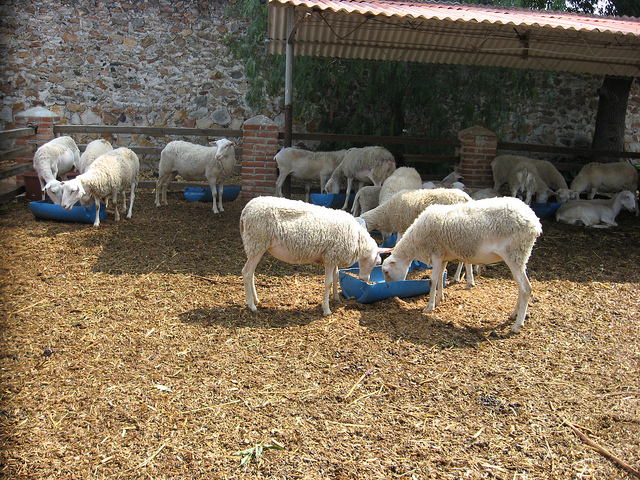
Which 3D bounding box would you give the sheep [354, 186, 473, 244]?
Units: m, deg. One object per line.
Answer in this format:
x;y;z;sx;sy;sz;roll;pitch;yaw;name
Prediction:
1.412;-0.302;8.788;1.505;1.032;1.085;8;17;16;sheep

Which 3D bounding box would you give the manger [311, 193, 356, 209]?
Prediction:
0.226;-0.844;12.067;0.795;0.229;0.497;1;3;-27;manger

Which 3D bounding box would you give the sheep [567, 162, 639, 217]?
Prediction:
6.639;-1.229;14.037;1.667;1.365;1.608;-9;13;-25;sheep

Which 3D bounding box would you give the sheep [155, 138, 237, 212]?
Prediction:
-2.561;-1.372;11.882;2.109;1.337;1.347;8;8;27;sheep

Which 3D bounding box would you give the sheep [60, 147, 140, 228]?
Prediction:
-3.928;-0.880;10.474;1.422;1.493;1.162;0;15;-14;sheep

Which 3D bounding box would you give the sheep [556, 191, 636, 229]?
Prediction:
5.761;-0.610;11.980;1.921;0.838;0.676;2;1;-4;sheep

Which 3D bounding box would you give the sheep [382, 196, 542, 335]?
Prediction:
1.841;0.284;7.412;2.267;1.442;0.796;5;1;41;sheep

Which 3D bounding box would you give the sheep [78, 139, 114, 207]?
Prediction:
-4.430;-1.418;11.295;0.912;1.440;0.781;-4;17;-17;sheep

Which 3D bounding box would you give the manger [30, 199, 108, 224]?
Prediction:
-4.602;-0.498;10.347;1.185;0.358;0.350;8;23;17;manger

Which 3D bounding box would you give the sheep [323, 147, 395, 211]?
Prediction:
0.872;-1.281;12.313;0.706;1.210;2.453;2;-2;-36;sheep

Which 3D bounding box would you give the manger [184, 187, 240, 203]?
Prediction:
-2.402;-0.979;12.561;0.712;0.205;0.560;0;2;13;manger

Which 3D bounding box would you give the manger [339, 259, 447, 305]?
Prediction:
0.912;0.594;7.705;1.196;0.260;0.686;-5;10;-26;manger
